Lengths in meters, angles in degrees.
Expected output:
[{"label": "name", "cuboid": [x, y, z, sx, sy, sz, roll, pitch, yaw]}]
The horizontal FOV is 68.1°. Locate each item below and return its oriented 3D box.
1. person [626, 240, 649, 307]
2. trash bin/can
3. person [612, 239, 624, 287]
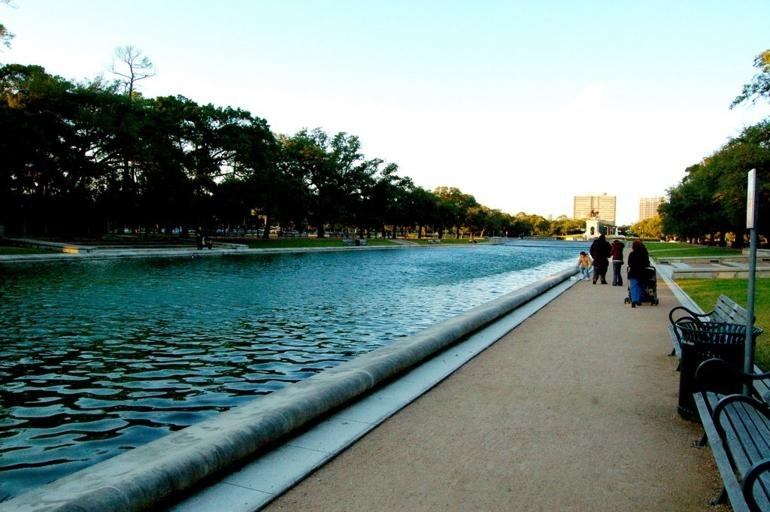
[{"label": "person", "cuboid": [7.193, 0.502, 16.188, 0.485, 1.900, 0.693, 3, 12, 21]}, {"label": "trash bin/can", "cuboid": [4.421, 1.539, 7.540, 0.573, 0.604, 1.553, 1, -3, 20]}, {"label": "person", "cuboid": [9.023, 0.254, 22.035, 0.417, 1.816, 1.046, 3, 12, 24]}]
